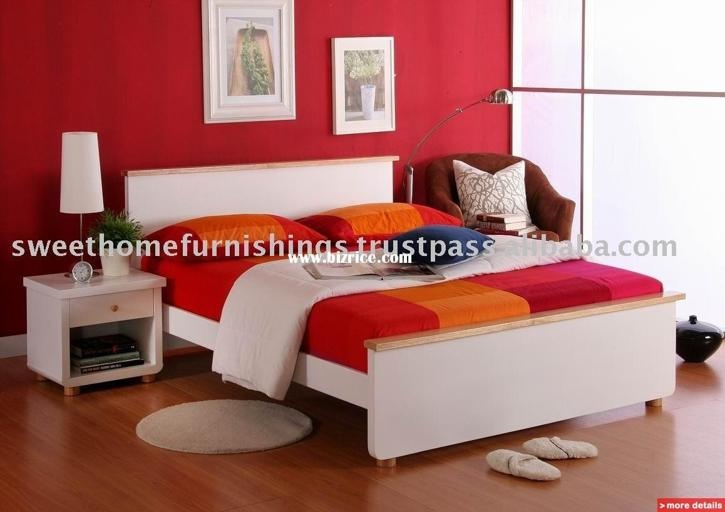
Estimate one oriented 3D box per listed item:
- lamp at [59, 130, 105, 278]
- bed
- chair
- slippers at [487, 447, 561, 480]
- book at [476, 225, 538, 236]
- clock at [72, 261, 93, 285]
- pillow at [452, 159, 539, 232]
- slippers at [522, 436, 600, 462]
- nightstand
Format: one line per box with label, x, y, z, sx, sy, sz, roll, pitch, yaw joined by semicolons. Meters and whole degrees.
lamp;-1.736;-0.437;3.796;0.228;0.651;0.183;-4;9;-24
bed;0.168;0.141;3.826;2.246;1.027;2.554;-7;13;-40
chair;1.109;-0.365;5.225;1.133;0.876;0.897;-3;17;-7
slippers;0.669;0.850;2.592;0.230;0.063;0.113;9;11;38
book;1.119;-0.193;4.848;0.233;0.048;0.226;-5;8;-35
clock;-1.671;0.093;3.686;0.111;0.121;0.166;-4;8;-24
pillow;1.065;-0.542;5.163;0.577;0.472;0.258;1;7;23
slippers;0.884;0.850;2.756;0.243;0.064;0.123;-3;2;-5
nightstand;-1.719;0.472;3.865;0.608;0.614;0.715;3;4;40
